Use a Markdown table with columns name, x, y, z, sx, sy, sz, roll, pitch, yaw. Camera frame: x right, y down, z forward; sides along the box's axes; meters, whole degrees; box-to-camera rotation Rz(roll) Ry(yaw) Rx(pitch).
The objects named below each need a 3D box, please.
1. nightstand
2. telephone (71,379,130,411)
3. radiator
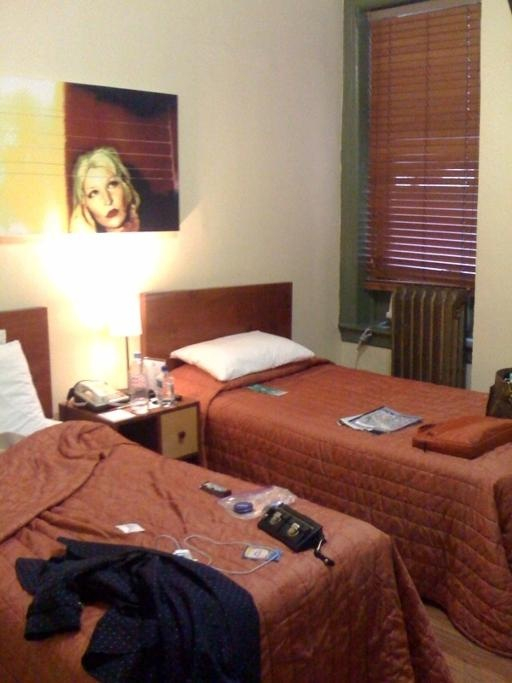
| name | x | y | z | sx | sy | sz | roll | pitch | yaw |
| --- | --- | --- | --- | --- | --- | --- | --- | --- | --- |
| nightstand | -0.645 | 0.410 | 2.944 | 0.462 | 0.441 | 0.474 | 9 | 13 | 43 |
| telephone | -0.830 | 0.248 | 2.867 | 0.219 | 0.068 | 0.162 | 15 | 20 | 35 |
| radiator | 1.228 | -0.010 | 4.023 | 0.493 | 0.836 | 0.102 | 10 | 36 | 29 |
